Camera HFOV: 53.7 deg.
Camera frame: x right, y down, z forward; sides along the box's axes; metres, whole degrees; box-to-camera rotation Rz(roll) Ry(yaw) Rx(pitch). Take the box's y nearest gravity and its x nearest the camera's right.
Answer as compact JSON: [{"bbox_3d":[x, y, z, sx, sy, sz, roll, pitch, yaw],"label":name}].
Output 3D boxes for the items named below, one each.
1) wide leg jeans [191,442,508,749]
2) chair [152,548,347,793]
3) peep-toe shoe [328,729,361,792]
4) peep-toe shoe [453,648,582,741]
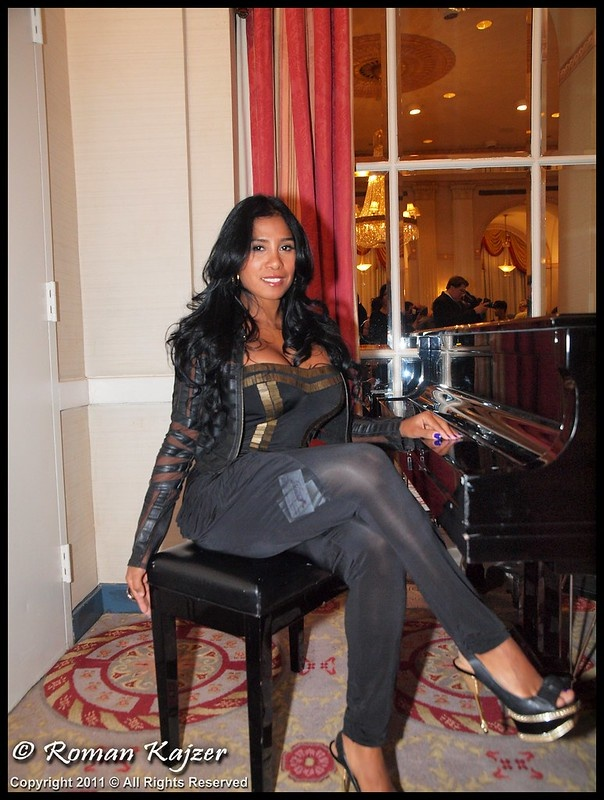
[{"bbox_3d":[0.165,0.276,1.292,0.295,0.691,0.483,-16,-9,-42],"label":"wide leg jeans"},{"bbox_3d":[-0.127,0.490,1.499,0.441,0.554,0.555,0,3,26],"label":"chair"},{"bbox_3d":[0.089,0.750,1.234,0.054,0.136,0.048,-15,-2,15],"label":"peep-toe shoe"},{"bbox_3d":[0.389,0.542,1.159,0.143,0.090,0.244,-15,26,-41],"label":"peep-toe shoe"}]
